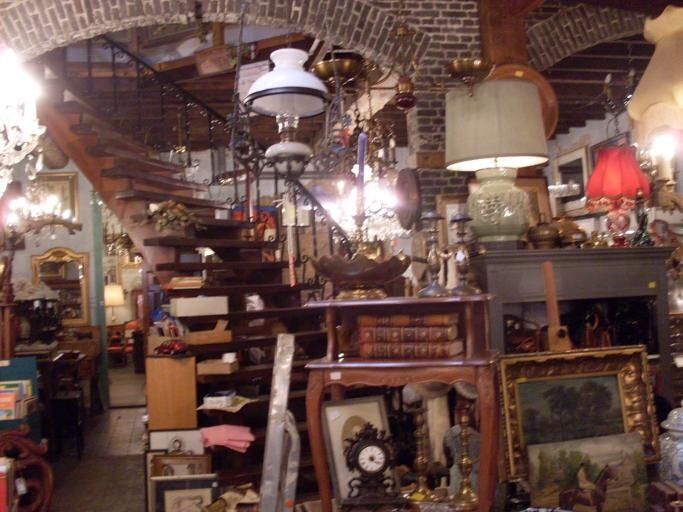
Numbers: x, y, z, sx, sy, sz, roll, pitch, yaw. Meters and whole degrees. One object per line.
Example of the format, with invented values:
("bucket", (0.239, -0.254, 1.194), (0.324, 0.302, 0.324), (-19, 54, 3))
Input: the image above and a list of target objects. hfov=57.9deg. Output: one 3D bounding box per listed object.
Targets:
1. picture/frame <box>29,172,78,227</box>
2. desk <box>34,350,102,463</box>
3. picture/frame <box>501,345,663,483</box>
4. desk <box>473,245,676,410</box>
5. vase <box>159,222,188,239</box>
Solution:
("picture/frame", (-4.793, -1.035, 10.531), (0.625, 0.857, 0.235), (-2, -7, -3))
("desk", (-3.352, 1.853, 7.570), (0.467, 1.166, 1.396), (-2, 6, -13))
("picture/frame", (1.533, 1.067, 4.037), (0.930, 0.674, 0.100), (-3, -15, -3))
("desk", (1.615, 0.502, 4.344), (1.264, 1.130, 0.512), (0, -7, -8))
("vase", (-1.681, -0.261, 6.152), (0.322, 0.142, 0.127), (-3, -7, 7))
